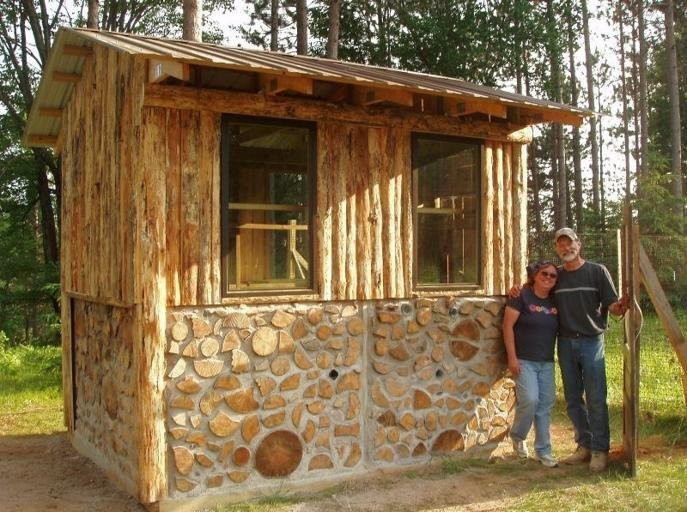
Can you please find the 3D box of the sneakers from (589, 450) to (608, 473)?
[{"bbox_3d":[3.501,2.816,10.765,0.220,0.232,0.189,0,7,16],"label":"sneakers"}]

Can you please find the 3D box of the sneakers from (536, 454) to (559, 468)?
[{"bbox_3d":[2.858,2.880,11.042,0.132,0.139,0.268,0,-6,-28],"label":"sneakers"}]

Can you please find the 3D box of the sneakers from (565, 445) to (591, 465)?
[{"bbox_3d":[3.306,2.841,11.131,0.434,0.238,0.176,1,-7,-13],"label":"sneakers"}]
